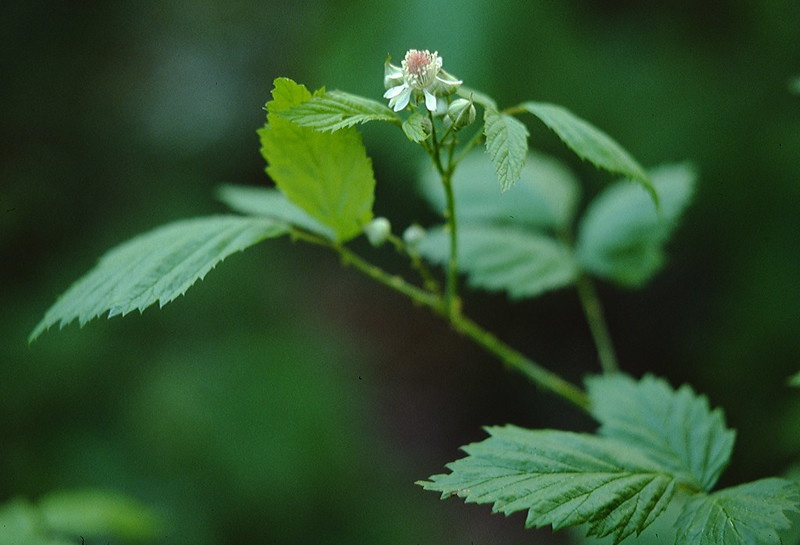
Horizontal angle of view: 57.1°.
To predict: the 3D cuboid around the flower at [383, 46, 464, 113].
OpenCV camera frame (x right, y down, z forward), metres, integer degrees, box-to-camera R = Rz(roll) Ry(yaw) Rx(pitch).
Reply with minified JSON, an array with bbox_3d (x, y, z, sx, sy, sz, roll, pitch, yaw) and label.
[{"bbox_3d":[0.100,-0.891,3.303,0.352,0.169,0.354,-3,6,-16],"label":"flower"}]
